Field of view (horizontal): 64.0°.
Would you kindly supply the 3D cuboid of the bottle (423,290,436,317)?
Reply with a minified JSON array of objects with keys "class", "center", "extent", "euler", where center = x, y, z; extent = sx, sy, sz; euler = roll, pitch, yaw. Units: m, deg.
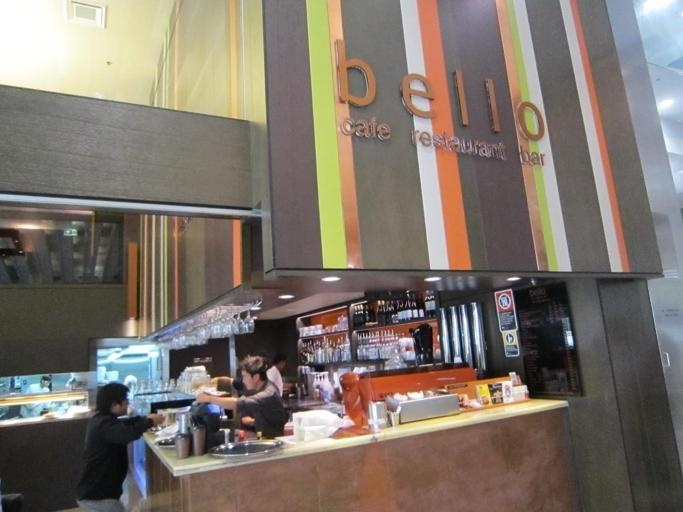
[{"class":"bottle","center":[1.107,0.599,6.962],"extent":[0.081,0.342,0.270],"euler":[-3,13,-16]}]

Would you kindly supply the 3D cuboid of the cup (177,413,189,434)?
[{"class":"cup","center":[-1.336,1.397,4.606],"extent":[0.087,0.153,0.183],"euler":[-4,14,-17]}]

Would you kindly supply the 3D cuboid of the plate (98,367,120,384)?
[{"class":"plate","center":[-4.143,2.112,9.702],"extent":[0.331,0.309,0.337],"euler":[0,-1,-31]}]

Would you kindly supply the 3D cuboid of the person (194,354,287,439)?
[{"class":"person","center":[-0.946,1.537,5.518],"extent":[0.705,1.244,0.681],"euler":[1,26,-1]}]

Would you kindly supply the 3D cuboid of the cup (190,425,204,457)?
[{"class":"cup","center":[-1.128,1.455,4.289],"extent":[0.109,0.229,0.118],"euler":[0,12,0]}]

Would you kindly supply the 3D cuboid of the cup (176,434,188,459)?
[{"class":"cup","center":[-1.235,1.481,4.259],"extent":[0.102,0.168,0.097],"euler":[0,12,0]}]

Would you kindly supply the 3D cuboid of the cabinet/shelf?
[{"class":"cabinet/shelf","center":[0.230,1.107,7.808],"extent":[2.564,0.941,0.361],"euler":[-12,-17,37]}]
